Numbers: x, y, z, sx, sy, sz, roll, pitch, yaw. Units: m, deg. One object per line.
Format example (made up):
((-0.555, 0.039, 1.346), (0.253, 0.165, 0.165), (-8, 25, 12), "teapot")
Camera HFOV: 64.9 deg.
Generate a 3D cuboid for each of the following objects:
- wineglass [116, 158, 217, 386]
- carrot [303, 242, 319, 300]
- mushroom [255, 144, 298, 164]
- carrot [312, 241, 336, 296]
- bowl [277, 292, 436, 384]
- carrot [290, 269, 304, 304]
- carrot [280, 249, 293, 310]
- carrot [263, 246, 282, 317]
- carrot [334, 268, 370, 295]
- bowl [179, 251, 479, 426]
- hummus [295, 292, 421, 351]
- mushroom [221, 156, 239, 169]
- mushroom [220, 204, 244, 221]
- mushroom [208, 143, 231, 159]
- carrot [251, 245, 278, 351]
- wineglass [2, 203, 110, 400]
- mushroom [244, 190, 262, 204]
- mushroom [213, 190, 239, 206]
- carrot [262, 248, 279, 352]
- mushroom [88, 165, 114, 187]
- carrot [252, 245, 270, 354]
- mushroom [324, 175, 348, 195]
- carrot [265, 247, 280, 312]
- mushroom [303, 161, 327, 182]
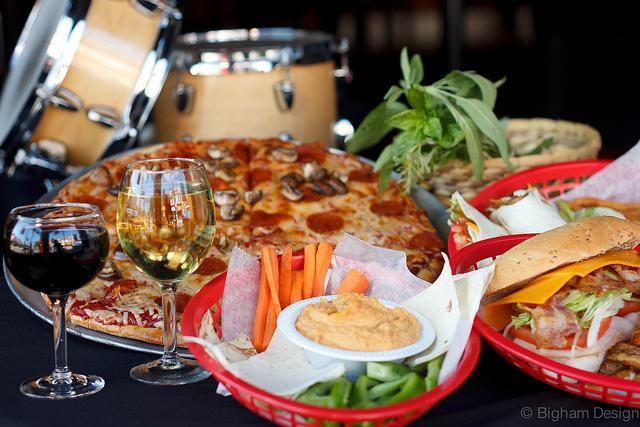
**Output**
((-0.280, 0.102, 1.042), (0.189, 0.427, 0.193), (-4, 5, -13), "wineglass")
((-0.022, 0.119, 1.060), (0.030, 0.107, 0.018), (14, -13, -24), "carrot")
((-0.166, -0.230, 1.958), (0.186, 0.072, 0.075), (8, 10, 41), "mushroom")
((0.001, 0.124, 1.069), (0.033, 0.023, 0.143), (-1, 46, 8), "carrot")
((0.061, 0.195, 0.889), (0.278, 0.084, 0.138), (3, 8, 10), "bowl")
((-0.048, 0.154, 1.032), (0.024, 0.016, 0.071), (6, 34, -1), "carrot")
((-0.068, 0.147, 1.027), (0.018, 0.100, 0.027), (20, -39, -15), "carrot")
((-0.098, 0.137, 1.011), (0.036, 0.137, 0.024), (-10, -17, -8), "carrot")
((0.070, 0.142, 1.032), (0.054, 0.053, 0.023), (35, -12, 4), "carrot")
((0.023, 0.226, 0.882), (0.396, 0.142, 0.373), (3, 19, -1), "bowl")
((0.067, 0.197, 0.963), (0.257, 0.075, 0.178), (2, -4, -19), "hummus")
((-0.339, -0.190, 1.902), (0.063, 0.046, 0.037), (0, 8, -11), "mushroom")
((-0.300, -0.003, 1.665), (0.085, 0.050, 0.064), (2, 8, 6), "mushroom")
((-0.383, -0.233, 1.903), (0.064, 0.021, 0.062), (13, 20, -1), "mushroom")
((-0.111, 0.175, 0.991), (0.045, 0.179, 0.030), (5, -30, -6), "carrot")
((-0.488, 0.138, 0.989), (0.169, 0.363, 0.190), (-6, 11, -34), "wineglass")
((-0.231, -0.056, 1.760), (0.047, 0.045, 0.069), (7, 9, 35), "mushroom")
((-0.322, -0.052, 1.702), (0.074, 0.023, 0.071), (3, 22, 3), "mushroom")
((-0.099, 0.168, 0.994), (0.035, 0.145, 0.083), (-5, 13, -10), "carrot")
((-0.758, -0.125, 1.736), (0.094, 0.068, 0.057), (8, 11, 42), "mushroom")
((-0.104, 0.181, 0.995), (0.044, 0.177, 0.026), (-2, -26, 12), "carrot")
((0.059, -0.097, 1.788), (0.050, 0.025, 0.075), (-16, 48, -36), "mushroom")
((-0.097, 0.121, 1.036), (0.028, 0.099, 0.014), (-13, -19, 6), "carrot")
((-0.020, -0.149, 1.822), (0.052, 0.075, 0.080), (-4, 10, -35), "mushroom")
